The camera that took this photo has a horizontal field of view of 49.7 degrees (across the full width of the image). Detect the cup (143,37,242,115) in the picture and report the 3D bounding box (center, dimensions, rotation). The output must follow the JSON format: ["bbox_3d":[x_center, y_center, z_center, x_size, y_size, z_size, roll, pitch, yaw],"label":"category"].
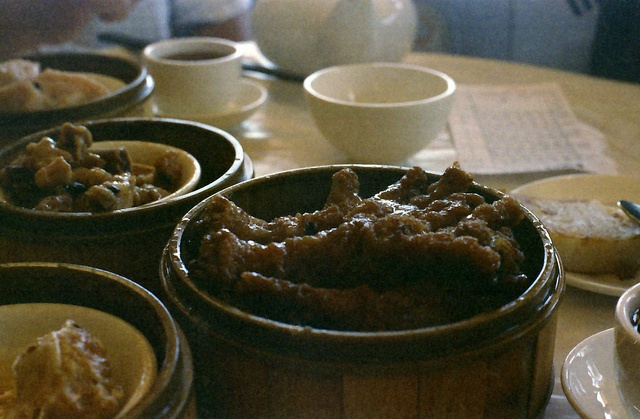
[{"bbox_3d":[-0.301,-0.316,1.715,0.200,0.140,0.215,0,28,0],"label":"cup"}]
